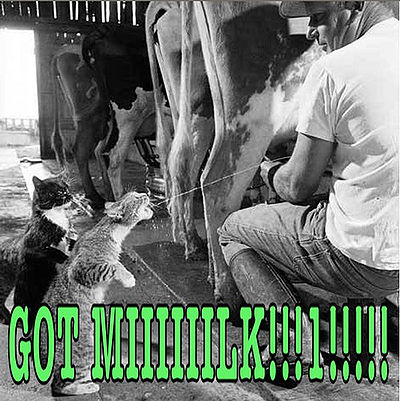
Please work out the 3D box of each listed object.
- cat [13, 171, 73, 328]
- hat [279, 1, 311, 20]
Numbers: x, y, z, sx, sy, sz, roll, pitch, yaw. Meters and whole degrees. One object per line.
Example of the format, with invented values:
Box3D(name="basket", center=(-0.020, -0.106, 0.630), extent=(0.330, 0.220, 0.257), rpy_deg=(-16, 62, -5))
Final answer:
Box3D(name="cat", center=(-0.625, 0.198, 1.668), extent=(0.262, 0.570, 0.121), rpy_deg=(-8, 14, -22))
Box3D(name="hat", center=(0.350, -0.698, 1.530), extent=(0.104, 0.094, 0.032), rpy_deg=(4, 18, 18))
